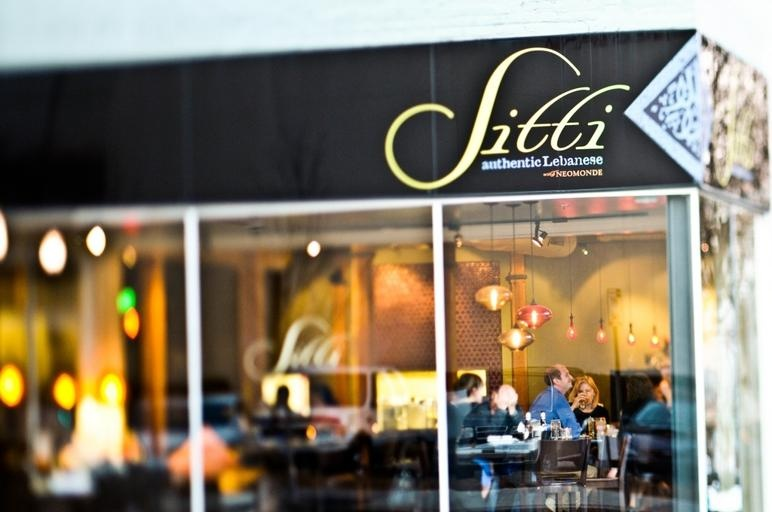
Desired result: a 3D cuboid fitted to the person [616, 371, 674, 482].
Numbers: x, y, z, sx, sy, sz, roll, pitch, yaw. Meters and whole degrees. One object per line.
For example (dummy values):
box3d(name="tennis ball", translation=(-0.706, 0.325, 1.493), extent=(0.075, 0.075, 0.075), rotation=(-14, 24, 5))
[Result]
box3d(name="person", translation=(2.678, 1.759, 11.069), extent=(0.480, 1.096, 0.179), rotation=(-6, -10, 13))

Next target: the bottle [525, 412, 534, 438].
box3d(name="bottle", translation=(1.476, 1.767, 11.273), extent=(0.053, 0.225, 0.103), rotation=(0, 1, -11))
